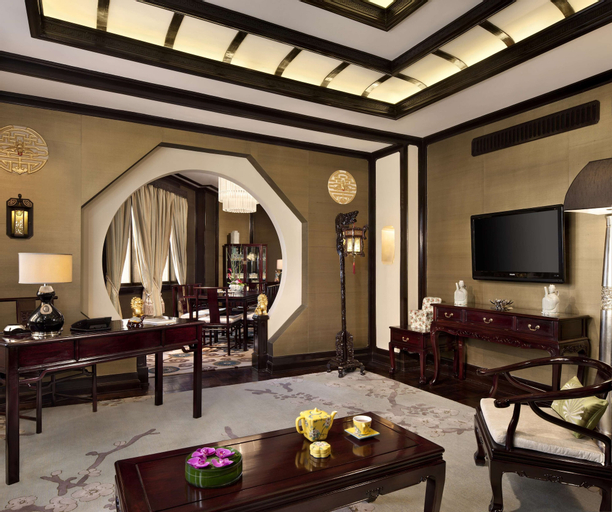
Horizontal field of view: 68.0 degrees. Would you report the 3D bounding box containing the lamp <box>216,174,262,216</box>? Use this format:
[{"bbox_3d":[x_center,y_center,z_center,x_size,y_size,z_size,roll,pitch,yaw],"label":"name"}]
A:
[{"bbox_3d":[-1.337,-1.067,8.427,0.715,0.760,0.747,0,1,6],"label":"lamp"}]

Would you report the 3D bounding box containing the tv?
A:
[{"bbox_3d":[2.369,-0.139,5.006,0.088,0.680,0.883,0,-1,-33],"label":"tv"}]

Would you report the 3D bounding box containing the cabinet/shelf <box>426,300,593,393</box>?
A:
[{"bbox_3d":[2.133,1.039,5.023,0.519,1.001,1.614,-3,1,-32],"label":"cabinet/shelf"}]

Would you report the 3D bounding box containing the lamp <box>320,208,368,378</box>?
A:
[{"bbox_3d":[0.546,0.464,6.212,0.580,2.162,1.069,-3,0,6],"label":"lamp"}]

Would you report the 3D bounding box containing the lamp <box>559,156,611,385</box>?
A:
[{"bbox_3d":[2.468,0.029,3.980,0.348,1.818,0.701,-3,0,31],"label":"lamp"}]

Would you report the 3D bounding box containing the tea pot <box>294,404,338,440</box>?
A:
[{"bbox_3d":[0.075,1.085,3.073,0.271,0.197,0.170,-3,3,-26],"label":"tea pot"}]

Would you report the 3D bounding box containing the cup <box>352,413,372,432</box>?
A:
[{"bbox_3d":[0.381,1.122,3.073,0.090,0.075,0.102,-1,-4,-7],"label":"cup"}]

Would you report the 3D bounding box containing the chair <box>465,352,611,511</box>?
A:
[{"bbox_3d":[1.643,1.194,3.304,0.761,0.981,1.322,0,-3,18],"label":"chair"}]

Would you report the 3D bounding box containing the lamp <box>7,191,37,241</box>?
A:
[{"bbox_3d":[-3.009,-0.408,4.806,0.253,0.442,0.067,-3,0,-35],"label":"lamp"}]

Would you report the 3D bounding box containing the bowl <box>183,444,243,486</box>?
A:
[{"bbox_3d":[-0.541,1.226,2.687,0.312,0.143,0.328,-1,-2,0],"label":"bowl"}]

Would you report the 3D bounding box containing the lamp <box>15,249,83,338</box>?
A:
[{"bbox_3d":[-2.228,0.315,3.911,0.392,0.654,0.620,-3,0,-38],"label":"lamp"}]
